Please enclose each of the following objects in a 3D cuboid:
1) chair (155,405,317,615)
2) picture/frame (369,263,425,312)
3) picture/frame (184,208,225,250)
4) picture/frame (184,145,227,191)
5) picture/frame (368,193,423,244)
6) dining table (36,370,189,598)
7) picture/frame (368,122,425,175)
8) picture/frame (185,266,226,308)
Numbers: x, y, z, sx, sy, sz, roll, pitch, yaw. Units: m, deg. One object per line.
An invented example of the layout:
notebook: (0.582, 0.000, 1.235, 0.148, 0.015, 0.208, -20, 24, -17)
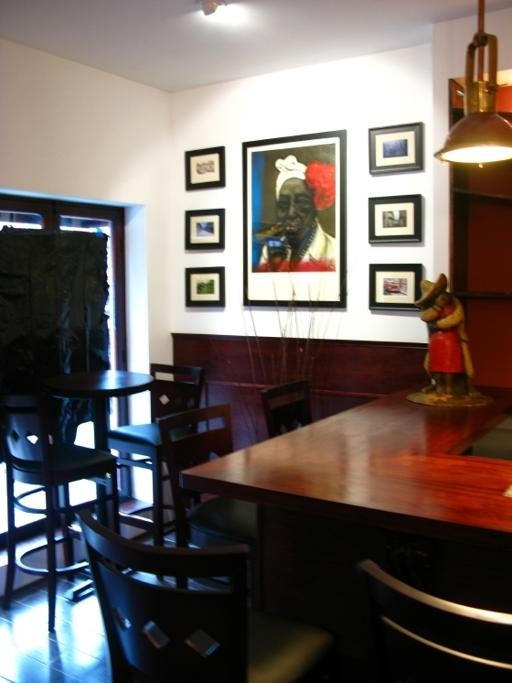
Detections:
chair: (-0.046, 0.465, 1.975, 0.463, 0.823, 0.506, -3, 3, -40)
picture/frame: (0.783, -0.298, 3.161, 0.298, 0.306, 0.021, 3, 5, 36)
picture/frame: (-0.338, -0.756, 3.891, 0.276, 0.284, 0.023, 4, 7, 27)
picture/frame: (-0.328, -1.155, 3.846, 0.311, 0.289, 0.026, 3, 8, 28)
picture/frame: (0.783, -0.678, 3.191, 0.286, 0.252, 0.031, 2, 6, 29)
dining table: (-0.744, 0.587, 3.001, 0.738, 1.094, 0.748, 4, 7, 32)
picture/frame: (0.780, -1.055, 3.157, 0.306, 0.260, 0.025, 3, 7, 30)
picture/frame: (-0.331, -0.367, 3.905, 0.279, 0.282, 0.022, 2, 1, 27)
